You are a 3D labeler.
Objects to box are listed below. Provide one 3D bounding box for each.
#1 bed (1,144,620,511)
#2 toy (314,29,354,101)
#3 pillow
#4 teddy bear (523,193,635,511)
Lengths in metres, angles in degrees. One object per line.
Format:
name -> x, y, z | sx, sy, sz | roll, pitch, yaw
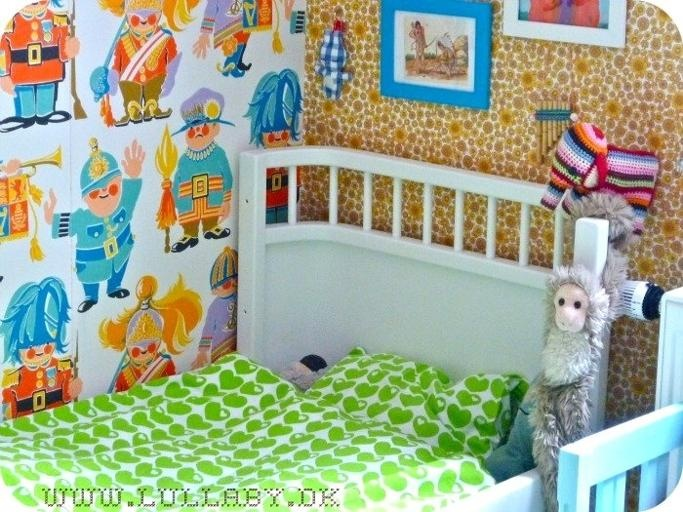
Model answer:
bed -> 0.193, 0.081, 2.554 | 1.311, 0.905, 1.077 | -14, 22, -42
toy -> -0.027, -0.734, 2.773 | 0.195, 0.285, 0.055 | 21, 31, 37
pillow -> 0.199, 0.420, 2.303 | 0.690, 0.204, 0.306 | 13, 21, 37
teddy bear -> 0.597, 0.234, 1.883 | 0.192, 0.762, 0.447 | 9, 18, 32
